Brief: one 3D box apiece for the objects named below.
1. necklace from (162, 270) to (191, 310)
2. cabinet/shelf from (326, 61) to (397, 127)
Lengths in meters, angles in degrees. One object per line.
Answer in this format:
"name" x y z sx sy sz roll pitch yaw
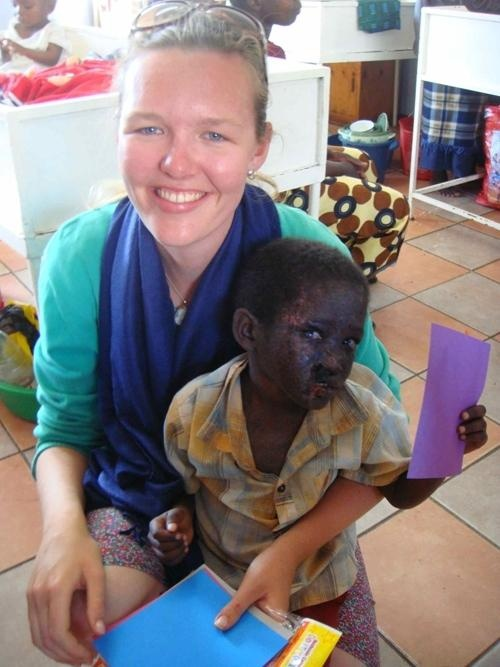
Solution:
"necklace" -0.126 -0.072 0.944 0.049 0.065 0.016 -31 0 -21
"cabinet/shelf" 0.912 -2.013 4.559 0.342 0.559 0.300 0 10 -37
